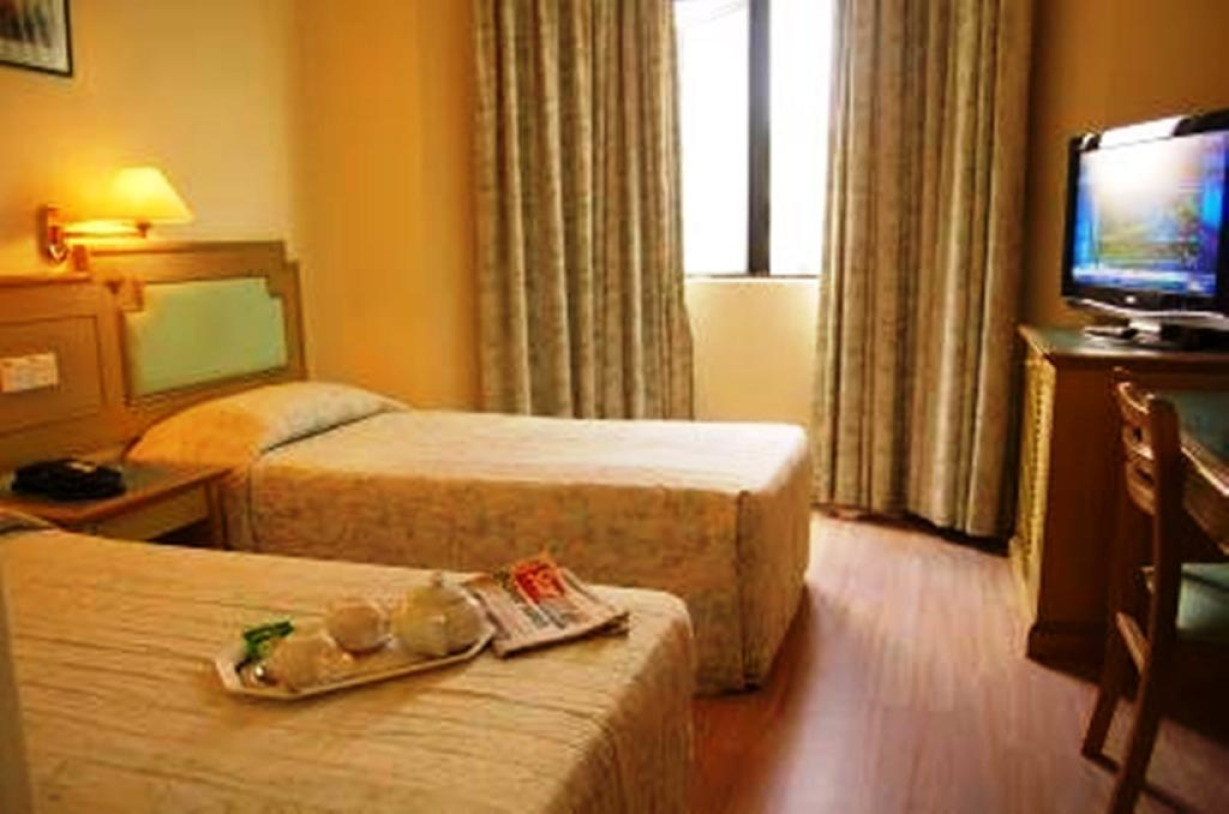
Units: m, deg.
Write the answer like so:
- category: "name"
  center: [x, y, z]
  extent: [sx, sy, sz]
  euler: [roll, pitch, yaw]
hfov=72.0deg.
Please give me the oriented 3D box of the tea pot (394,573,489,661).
- category: "tea pot"
  center: [-0.440, 0.543, 2.183]
  extent: [0.164, 0.156, 0.226]
  euler: [-1, -2, -6]

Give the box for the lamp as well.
- category: "lamp"
  center: [-2.092, -0.802, 3.611]
  extent: [0.549, 0.364, 0.359]
  euler: [-4, 16, -4]

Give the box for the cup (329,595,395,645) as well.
- category: "cup"
  center: [-0.664, 0.545, 2.176]
  extent: [0.104, 0.106, 0.145]
  euler: [-1, -1, -5]

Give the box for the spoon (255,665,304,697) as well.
- category: "spoon"
  center: [-0.821, 0.668, 2.046]
  extent: [0.151, 0.027, 0.051]
  euler: [5, 30, 32]

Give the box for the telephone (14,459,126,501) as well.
- category: "telephone"
  center: [-2.013, 0.278, 3.137]
  extent: [0.273, 0.094, 0.208]
  euler: [7, 4, 13]

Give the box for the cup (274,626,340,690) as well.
- category: "cup"
  center: [-0.732, 0.611, 2.051]
  extent: [0.147, 0.098, 0.112]
  euler: [4, 7, 9]
